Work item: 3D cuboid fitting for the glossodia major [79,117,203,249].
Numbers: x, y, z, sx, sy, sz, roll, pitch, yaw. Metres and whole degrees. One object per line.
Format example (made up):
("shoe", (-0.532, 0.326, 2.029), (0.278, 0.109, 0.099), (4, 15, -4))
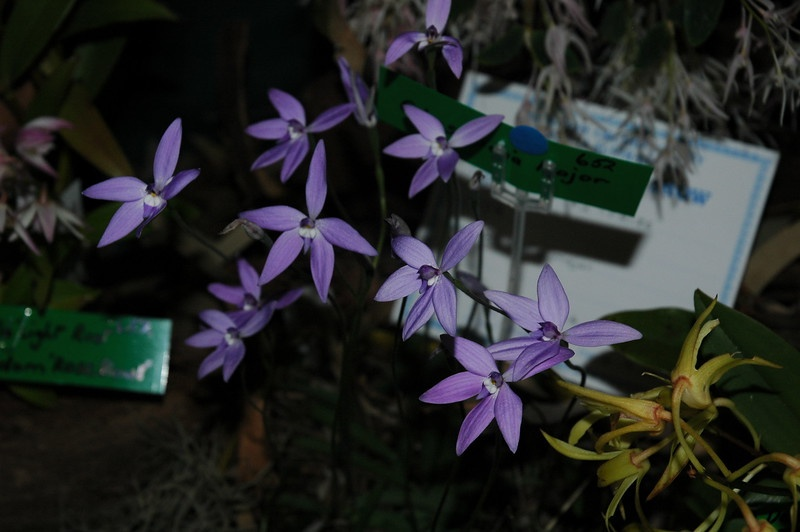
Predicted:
("glossodia major", (-0.319, -0.109, 0.881), (0.114, 0.165, 0.175), (10, 13, -27))

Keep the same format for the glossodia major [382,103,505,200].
("glossodia major", (0.053, -0.145, 0.926), (0.121, 0.115, 0.056), (-28, -9, 14))

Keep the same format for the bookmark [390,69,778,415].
("bookmark", (0.351, -0.033, 1.038), (0.505, 0.483, 0.022), (19, 9, 7))

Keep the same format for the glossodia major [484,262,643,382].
("glossodia major", (0.181, 0.077, 0.815), (0.144, 0.184, 0.084), (-16, -64, 50))

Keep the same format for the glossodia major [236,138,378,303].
("glossodia major", (-0.108, -0.046, 0.852), (0.145, 0.181, 0.064), (1, -14, -1))

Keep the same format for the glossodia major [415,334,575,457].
("glossodia major", (0.104, 0.139, 0.826), (0.149, 0.149, 0.071), (19, 12, 14))

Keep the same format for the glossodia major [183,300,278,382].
("glossodia major", (-0.216, 0.113, 0.936), (0.082, 0.105, 0.043), (38, -17, 19))

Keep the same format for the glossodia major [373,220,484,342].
("glossodia major", (0.033, 0.022, 0.829), (0.114, 0.151, 0.058), (2, -32, 15))
